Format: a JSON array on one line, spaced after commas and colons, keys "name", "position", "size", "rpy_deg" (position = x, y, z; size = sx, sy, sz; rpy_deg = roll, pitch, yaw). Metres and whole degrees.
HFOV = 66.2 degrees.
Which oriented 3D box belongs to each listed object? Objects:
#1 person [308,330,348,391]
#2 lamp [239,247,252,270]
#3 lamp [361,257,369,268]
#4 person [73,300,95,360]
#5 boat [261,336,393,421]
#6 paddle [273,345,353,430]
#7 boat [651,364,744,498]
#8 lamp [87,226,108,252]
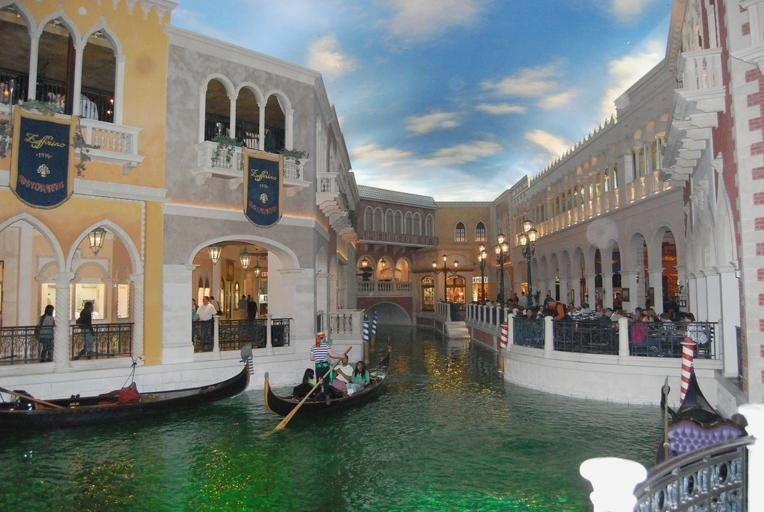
[{"name": "person", "position": [-1.613, 3.300, 17.195], "size": [0.964, 2.094, 0.799], "rpy_deg": [-2, -7, 6]}, {"name": "lamp", "position": [-5.644, 0.178, 23.911], "size": [0.327, 0.942, 1.314], "rpy_deg": [-3, 10, -17]}, {"name": "lamp", "position": [-1.400, 0.474, 44.883], "size": [0.651, 1.078, 0.637], "rpy_deg": [0, -7, -4]}, {"name": "person", "position": [-8.922, 2.196, 17.429], "size": [0.527, 1.319, 1.644], "rpy_deg": [-5, 11, -26]}, {"name": "boat", "position": [-1.023, 3.990, 17.738], "size": [1.430, 1.895, 6.180], "rpy_deg": [0, 1, 28]}, {"name": "paddle", "position": [-2.108, 3.907, 17.240], "size": [0.255, 0.343, 4.827], "rpy_deg": [-4, 19, 26]}, {"name": "boat", "position": [5.980, 3.236, 11.115], "size": [1.146, 3.277, 1.174], "rpy_deg": [2, 4, 21]}, {"name": "lamp", "position": [-9.319, -0.571, 19.004], "size": [0.645, 1.072, 0.592], "rpy_deg": [3, 2, -39]}]
